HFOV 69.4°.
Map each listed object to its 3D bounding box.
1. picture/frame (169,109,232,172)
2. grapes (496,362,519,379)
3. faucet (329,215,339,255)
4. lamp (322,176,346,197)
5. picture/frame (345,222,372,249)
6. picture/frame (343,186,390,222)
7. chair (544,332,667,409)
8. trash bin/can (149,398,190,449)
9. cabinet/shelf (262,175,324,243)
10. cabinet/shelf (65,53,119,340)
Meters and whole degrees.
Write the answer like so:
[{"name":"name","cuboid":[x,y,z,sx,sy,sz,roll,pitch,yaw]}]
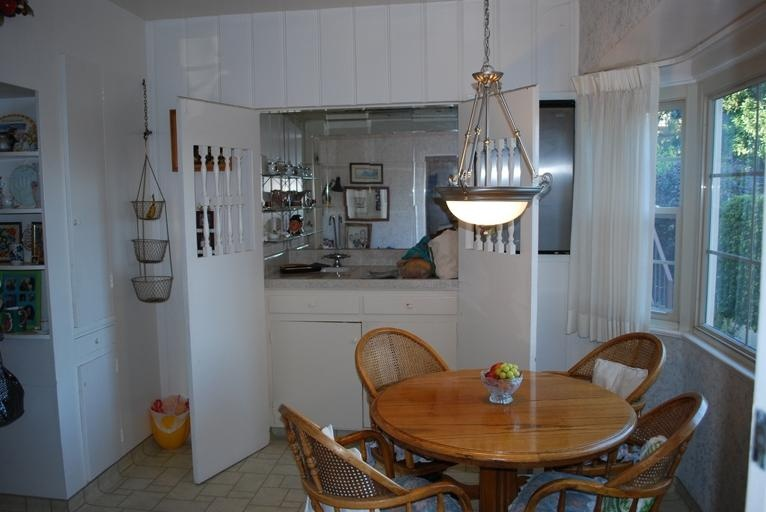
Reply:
[{"name":"picture/frame","cuboid":[-1.452,-0.872,4.315,0.399,0.508,0.794,-6,15,-20]},{"name":"grapes","cuboid":[0.712,0.646,3.112,0.106,0.058,0.080,4,-4,-31]},{"name":"faucet","cuboid":[-0.467,-0.212,5.481,0.082,0.337,0.053,0,14,2]},{"name":"lamp","cuboid":[-0.469,-0.667,5.419,0.185,0.186,0.163,7,4,18]},{"name":"picture/frame","cuboid":[-0.221,-0.197,5.443,0.247,0.284,0.020,2,9,8]},{"name":"picture/frame","cuboid":[-0.134,-0.512,5.395,0.342,0.272,0.029,0,5,9]},{"name":"chair","cuboid":[1.442,0.664,3.526,0.604,0.535,0.458,-1,1,-35]},{"name":"trash bin/can","cuboid":[-1.762,1.387,4.627,0.310,0.402,0.220,4,14,16]},{"name":"cabinet/shelf","cuboid":[-0.866,-0.433,5.148,0.197,0.658,0.792,5,15,20]},{"name":"cabinet/shelf","cuboid":[-2.129,-0.423,3.996,0.196,1.889,0.627,-3,14,-9]}]
